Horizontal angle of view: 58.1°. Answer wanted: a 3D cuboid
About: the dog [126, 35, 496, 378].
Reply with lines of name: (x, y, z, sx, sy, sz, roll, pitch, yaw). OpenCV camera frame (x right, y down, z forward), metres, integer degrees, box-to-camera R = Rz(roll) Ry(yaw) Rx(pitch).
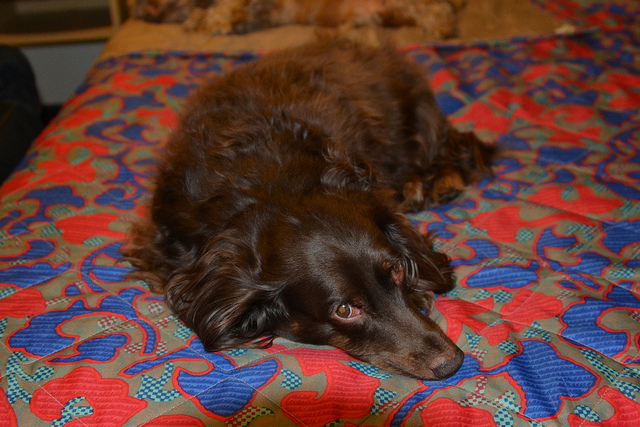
dog: (-0.004, -0.071, 3.851, 2.042, 0.875, 2.286, 11, 56, 9)

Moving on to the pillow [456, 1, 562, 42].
pillow: (1.721, -1.806, 5.371, 0.685, 0.138, 0.551, 1, 47, -5)
